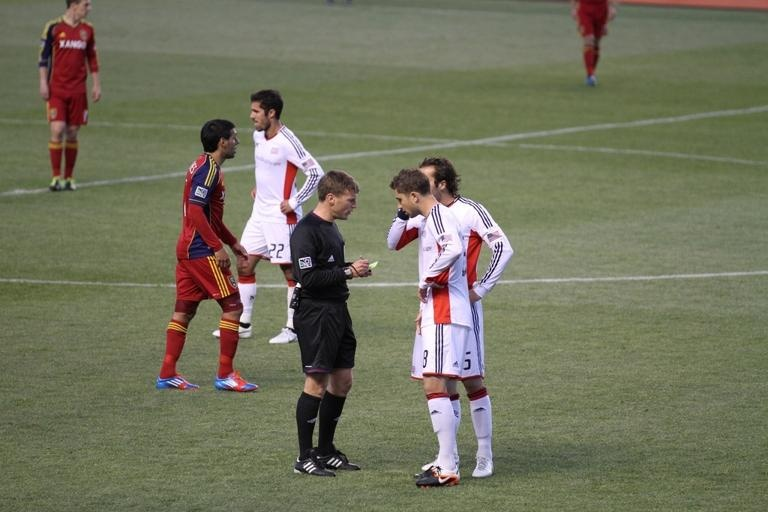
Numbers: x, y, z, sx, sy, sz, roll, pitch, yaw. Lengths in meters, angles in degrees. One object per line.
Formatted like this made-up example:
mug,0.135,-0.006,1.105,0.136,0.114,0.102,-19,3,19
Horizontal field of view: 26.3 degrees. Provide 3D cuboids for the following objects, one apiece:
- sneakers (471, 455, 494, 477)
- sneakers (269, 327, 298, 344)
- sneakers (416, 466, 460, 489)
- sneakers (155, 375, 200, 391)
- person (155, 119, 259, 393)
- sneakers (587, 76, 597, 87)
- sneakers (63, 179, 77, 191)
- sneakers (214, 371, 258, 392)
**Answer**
sneakers,1.450,3.089,24.108,0.201,0.177,0.386,-1,14,14
sneakers,-1.739,1.332,26.860,0.641,0.249,0.215,-2,3,-12
sneakers,0.784,3.234,23.982,0.630,0.280,0.280,2,-3,0
sneakers,-3.214,1.980,25.573,0.676,0.234,0.230,0,5,-7
person,-2.758,0.016,25.477,1.304,4.104,0.793,2,9,-5
sneakers,5.019,-4.139,39.937,0.262,0.260,0.253,-8,15,-39
sneakers,-6.226,-1.346,32.547,0.270,0.235,0.148,-1,11,-10
sneakers,-2.311,1.975,25.596,0.703,0.273,0.262,2,1,-2
